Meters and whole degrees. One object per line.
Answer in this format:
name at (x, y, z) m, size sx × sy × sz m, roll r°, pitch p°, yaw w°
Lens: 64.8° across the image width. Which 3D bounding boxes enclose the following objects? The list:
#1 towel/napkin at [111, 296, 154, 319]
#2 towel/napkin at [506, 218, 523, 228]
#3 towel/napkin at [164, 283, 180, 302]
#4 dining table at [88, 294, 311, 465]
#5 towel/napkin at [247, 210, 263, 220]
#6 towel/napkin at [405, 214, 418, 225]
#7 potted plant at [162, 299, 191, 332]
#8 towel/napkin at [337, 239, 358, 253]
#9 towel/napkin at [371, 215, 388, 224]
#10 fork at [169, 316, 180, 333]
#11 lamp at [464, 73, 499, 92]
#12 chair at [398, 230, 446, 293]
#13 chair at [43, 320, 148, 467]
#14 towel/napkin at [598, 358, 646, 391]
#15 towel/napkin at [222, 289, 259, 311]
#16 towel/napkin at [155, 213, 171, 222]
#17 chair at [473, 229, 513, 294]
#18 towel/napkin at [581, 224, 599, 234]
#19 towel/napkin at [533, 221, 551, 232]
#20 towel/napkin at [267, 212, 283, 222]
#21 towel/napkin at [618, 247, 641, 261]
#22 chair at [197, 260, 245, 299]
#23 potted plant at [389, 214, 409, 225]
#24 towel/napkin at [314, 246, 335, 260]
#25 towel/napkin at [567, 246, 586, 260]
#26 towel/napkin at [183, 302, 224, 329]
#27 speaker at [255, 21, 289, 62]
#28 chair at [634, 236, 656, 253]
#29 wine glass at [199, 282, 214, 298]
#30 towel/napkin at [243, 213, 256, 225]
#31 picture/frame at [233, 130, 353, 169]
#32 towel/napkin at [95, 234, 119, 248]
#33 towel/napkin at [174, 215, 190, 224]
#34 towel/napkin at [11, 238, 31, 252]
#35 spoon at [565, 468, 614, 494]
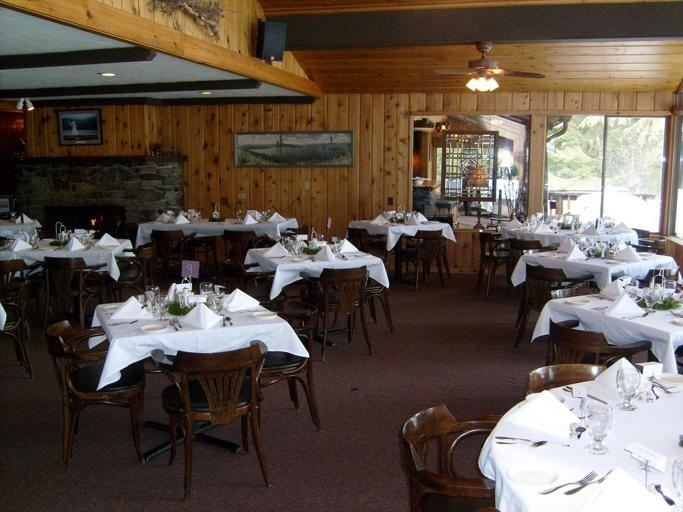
towel/napkin at (-1.482, 0.385, 3.776) m, size 0.191 × 0.102 × 0.198 m, roll 0°, pitch 6°, yaw -8°
towel/napkin at (2.622, -0.494, 8.152) m, size 0.180 × 0.088 × 0.199 m, roll 3°, pitch 12°, yaw 21°
towel/napkin at (-1.223, 0.267, 3.959) m, size 0.113 × 0.114 × 0.035 m, roll 9°, pitch -17°, yaw 46°
dining table at (-1.110, 0.631, 4.050) m, size 1.182 × 0.784 × 1.158 m, roll -4°, pitch 23°, yaw -20°
towel/napkin at (-1.507, -0.726, 9.344) m, size 0.254 × 0.124 × 0.253 m, roll -1°, pitch 9°, yaw 1°
towel/napkin at (1.138, -0.604, 8.741) m, size 0.153 × 0.150 × 0.096 m, roll 8°, pitch 22°, yaw 22°
potted plant at (-1.185, 0.401, 3.784) m, size 0.169 × 0.105 × 0.187 m, roll 4°, pitch 4°, yaw 24°
towel/napkin at (0.073, -0.131, 6.649) m, size 0.261 × 0.113 × 0.348 m, roll 0°, pitch 4°, yaw -3°
towel/napkin at (0.653, -0.639, 9.071) m, size 0.211 × 0.078 × 0.212 m, roll 3°, pitch 10°, yaw 13°
fork at (-1.146, 0.436, 3.703) m, size 0.043 × 0.040 × 0.326 m, roll -8°, pitch 17°, yaw -9°
lamp at (1.669, -2.055, 6.304) m, size 0.293 × 0.174 × 0.317 m, roll 6°, pitch 13°, yaw 27°
chair at (1.264, -0.045, 8.628) m, size 0.756 × 0.950 × 1.650 m, roll 2°, pitch 12°, yaw 8°
chair at (-1.596, 0.882, 3.607) m, size 0.563 × 0.932 × 0.430 m, roll -2°, pitch 12°, yaw -8°
towel/napkin at (1.426, 0.604, 2.740) m, size 0.181 × 0.109 × 0.182 m, roll -2°, pitch 8°, yaw 12°
towel/napkin at (-0.760, 0.336, 4.003) m, size 0.157 × 0.080 × 0.207 m, roll 4°, pitch 8°, yaw 21°
towel/napkin at (-2.988, -0.649, 9.040) m, size 0.199 × 0.118 × 0.196 m, roll 0°, pitch 2°, yaw -10°
chair at (2.347, 0.054, 8.235) m, size 0.491 × 0.938 × 1.938 m, roll 3°, pitch 12°, yaw 15°
towel/napkin at (3.473, -0.371, 7.467) m, size 0.205 × 0.107 × 0.209 m, roll 2°, pitch 18°, yaw 31°
towel/napkin at (2.917, -0.420, 7.760) m, size 0.171 × 0.083 × 0.172 m, roll 2°, pitch 11°, yaw 13°
towel/napkin at (-1.150, -0.680, 9.255) m, size 0.245 × 0.116 × 0.323 m, roll -1°, pitch 3°, yaw -3°
towel/napkin at (3.098, -0.029, 5.773) m, size 0.178 × 0.099 × 0.173 m, roll -9°, pitch 10°, yaw -44°
chair at (-1.374, 0.255, 6.155) m, size 0.361 × 0.458 × 0.338 m, roll 8°, pitch 14°, yaw 30°
potted plant at (0.944, -0.635, 8.853) m, size 0.202 × 0.136 × 0.200 m, roll 0°, pitch 7°, yaw -3°
towel/napkin at (-0.183, -0.019, 5.871) m, size 0.233 × 0.166 × 0.144 m, roll 1°, pitch 1°, yaw 5°
towel/napkin at (2.594, -0.023, 5.922) m, size 0.151 × 0.067 × 0.149 m, roll 6°, pitch 55°, yaw 11°
towel/napkin at (-0.946, 0.409, 3.610) m, size 0.171 × 0.096 × 0.204 m, roll 8°, pitch 8°, yaw 37°
speaker at (-0.925, -2.813, 6.999) m, size 0.373 × 0.485 × 0.288 m, roll -2°, pitch 12°, yaw -11°
chair at (4.201, -0.168, 7.442) m, size 0.307 × 0.372 × 0.293 m, roll 3°, pitch 7°, yaw 30°
wine glass at (-1.020, 0.236, 4.024) m, size 0.122 × 0.106 × 0.127 m, roll -2°, pitch 2°, yaw -6°
towel/napkin at (-1.540, -0.638, 9.054) m, size 0.224 × 0.212 × 0.147 m, roll -2°, pitch 25°, yaw -6°
picture/frame at (-0.888, -1.981, 9.888) m, size 2.222 × 0.622 × 0.237 m, roll 3°, pitch 12°, yaw 15°
towel/napkin at (-2.918, -0.190, 6.713) m, size 0.236 × 0.105 × 0.233 m, roll 0°, pitch 9°, yaw -7°
towel/napkin at (-2.646, -0.611, 8.882) m, size 0.187 × 0.083 × 0.184 m, roll -2°, pitch 12°, yaw -13°
towel/napkin at (-3.763, -0.136, 6.288) m, size 0.168 × 0.076 × 0.165 m, roll -5°, pitch 17°, yaw -23°
spoon at (0.928, 0.844, 2.010) m, size 0.220 × 0.030 × 0.031 m, roll -21°, pitch 42°, yaw -30°
